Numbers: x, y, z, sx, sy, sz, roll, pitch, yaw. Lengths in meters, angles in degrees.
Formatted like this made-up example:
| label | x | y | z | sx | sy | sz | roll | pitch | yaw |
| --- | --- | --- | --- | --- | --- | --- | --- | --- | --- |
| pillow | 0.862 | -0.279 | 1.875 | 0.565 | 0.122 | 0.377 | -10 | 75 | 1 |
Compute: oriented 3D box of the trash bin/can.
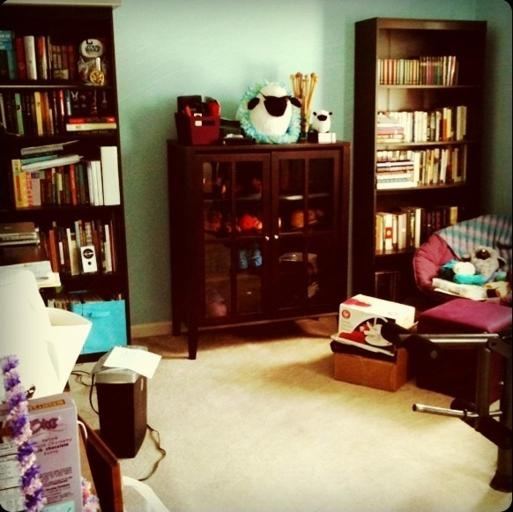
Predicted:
| label | x | y | z | sx | sy | sz | roll | pitch | yaw |
| --- | --- | --- | --- | --- | --- | --- | --- | --- | --- |
| trash bin/can | -0.551 | 0.600 | 2.082 | 0.180 | 0.398 | 0.249 | -2 | 13 | -2 |

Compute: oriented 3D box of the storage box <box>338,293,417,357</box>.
| label | x | y | z | sx | sy | sz | roll | pitch | yaw |
| --- | --- | --- | --- | --- | --- | --- | --- | --- | --- |
| storage box | 0.607 | 0.340 | 2.656 | 0.396 | 0.238 | 0.397 | 7 | 13 | 27 |

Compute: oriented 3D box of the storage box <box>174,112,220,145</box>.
| label | x | y | z | sx | sy | sz | roll | pitch | yaw |
| --- | --- | --- | --- | --- | --- | --- | --- | --- | --- |
| storage box | -0.318 | -0.703 | 2.796 | 0.176 | 0.147 | 0.244 | -4 | 14 | -25 |

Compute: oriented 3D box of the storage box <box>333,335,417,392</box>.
| label | x | y | z | sx | sy | sz | roll | pitch | yaw |
| --- | --- | --- | --- | --- | --- | --- | --- | --- | --- |
| storage box | 0.570 | 0.573 | 2.554 | 0.369 | 0.224 | 0.372 | 4 | 5 | 26 |

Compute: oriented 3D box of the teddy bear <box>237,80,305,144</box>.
| label | x | y | z | sx | sy | sz | roll | pitch | yaw |
| --- | --- | --- | --- | --- | --- | --- | --- | --- | --- |
| teddy bear | 0.090 | -0.825 | 2.956 | 0.365 | 0.395 | 0.317 | -2 | 10 | -4 |

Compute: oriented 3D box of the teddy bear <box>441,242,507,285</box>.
| label | x | y | z | sx | sy | sz | roll | pitch | yaw |
| --- | --- | --- | --- | --- | --- | --- | --- | --- | --- |
| teddy bear | 1.411 | 0.070 | 3.204 | 0.311 | 0.130 | 0.259 | -9 | 21 | -22 |

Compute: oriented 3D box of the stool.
| label | x | y | z | sx | sy | sz | roll | pitch | yaw |
| --- | --- | --- | --- | --- | --- | --- | --- | --- | --- |
| stool | 1.012 | 0.483 | 2.477 | 0.456 | 0.418 | 0.431 | 2 | 14 | 17 |

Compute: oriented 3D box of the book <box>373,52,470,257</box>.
| label | x | y | z | sx | sy | sz | roll | pitch | yaw |
| --- | --- | --- | --- | --- | --- | --- | --- | --- | --- |
| book | 1.120 | -0.709 | 3.549 | 0.817 | 1.318 | 0.247 | -7 | 14 | -20 |
